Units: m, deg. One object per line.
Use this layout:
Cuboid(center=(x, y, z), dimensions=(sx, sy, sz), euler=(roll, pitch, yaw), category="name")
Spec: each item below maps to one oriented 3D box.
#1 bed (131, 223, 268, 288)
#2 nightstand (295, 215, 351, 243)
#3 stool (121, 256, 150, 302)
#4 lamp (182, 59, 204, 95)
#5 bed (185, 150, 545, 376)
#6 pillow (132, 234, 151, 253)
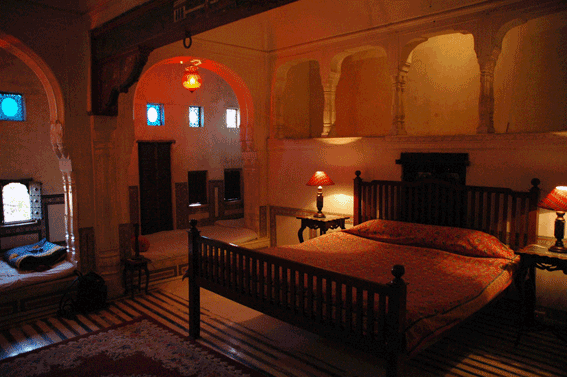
Cuboid(center=(-1.869, 1.245, 9.250), dimensions=(1.945, 0.438, 1.349), euler=(-6, 8, -43), category="bed")
Cuboid(center=(0.871, 0.647, 9.000), dimensions=(0.690, 0.742, 0.833), euler=(5, 5, 43), category="nightstand")
Cuboid(center=(-2.715, 1.608, 8.081), dimensions=(0.509, 0.722, 0.380), euler=(-5, 7, -34), category="stool")
Cuboid(center=(-1.981, -2.483, 9.584), dimensions=(0.385, 0.830, 1.721), euler=(-2, 6, -10), category="lamp")
Cuboid(center=(1.632, 1.136, 6.576), dimensions=(3.778, 2.184, 3.256), euler=(-5, 8, -44), category="bed")
Cuboid(center=(-2.719, 1.041, 8.394), dimensions=(0.400, 0.382, 0.362), euler=(14, -21, -31), category="pillow")
